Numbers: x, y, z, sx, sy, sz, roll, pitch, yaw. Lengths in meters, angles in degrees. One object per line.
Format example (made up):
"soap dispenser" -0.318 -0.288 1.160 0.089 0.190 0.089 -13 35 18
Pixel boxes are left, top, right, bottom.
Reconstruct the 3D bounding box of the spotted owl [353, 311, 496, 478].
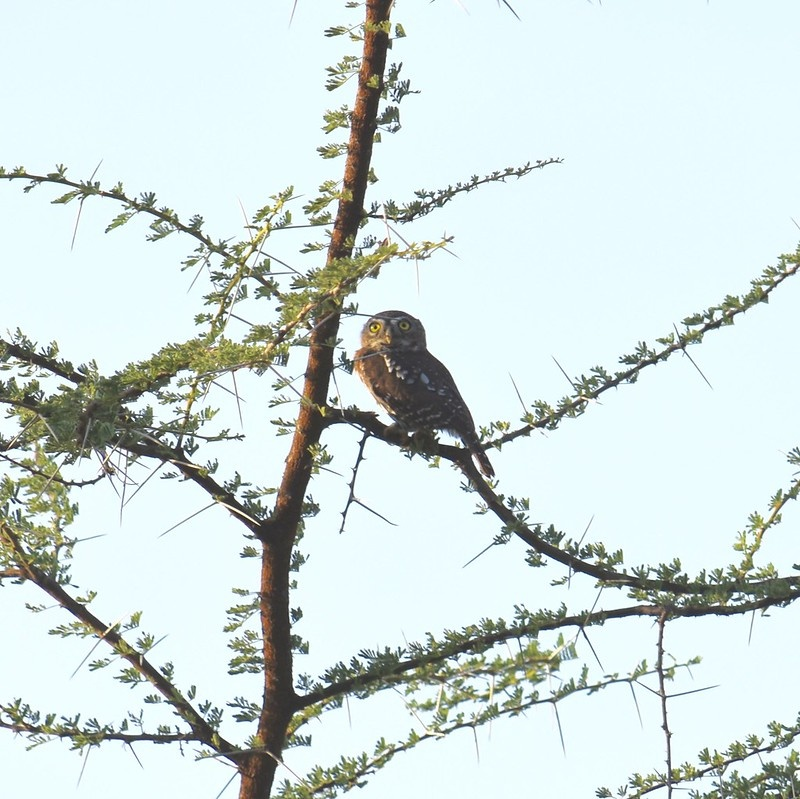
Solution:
"spotted owl" 0.087 -0.116 10.402 0.618 1.513 0.539 -11 -51 2
